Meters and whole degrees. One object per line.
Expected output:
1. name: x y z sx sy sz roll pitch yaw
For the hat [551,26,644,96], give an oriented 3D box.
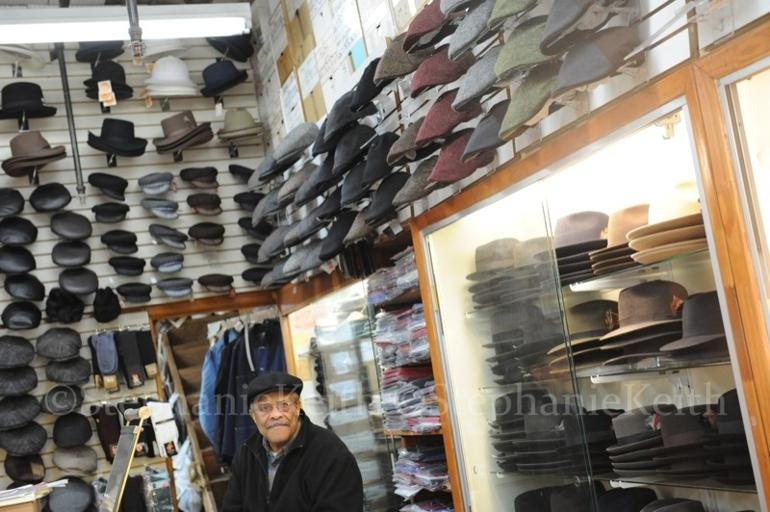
1. hat: 0.835 -0.788 2.272 0.364 0.119 0.232 -30 -6 -3
